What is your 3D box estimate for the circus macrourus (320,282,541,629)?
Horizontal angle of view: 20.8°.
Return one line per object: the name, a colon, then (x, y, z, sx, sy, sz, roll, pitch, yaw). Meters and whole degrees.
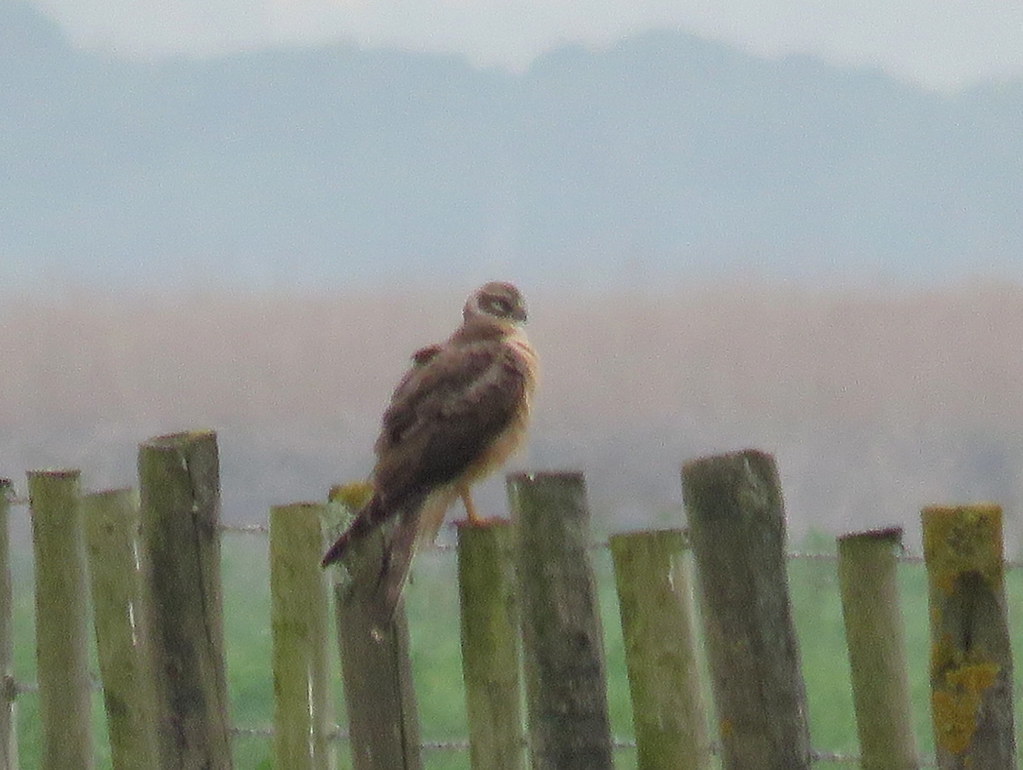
circus macrourus: (-0.203, 0.172, 7.464, 0.288, 0.947, 0.645, -5, -7, 39)
